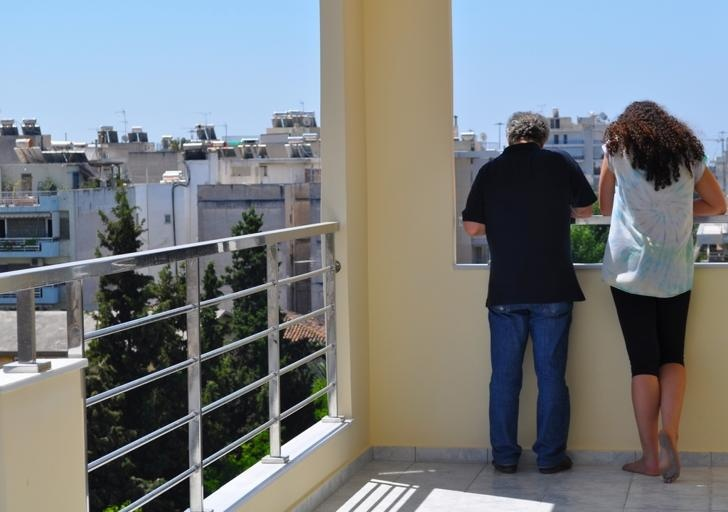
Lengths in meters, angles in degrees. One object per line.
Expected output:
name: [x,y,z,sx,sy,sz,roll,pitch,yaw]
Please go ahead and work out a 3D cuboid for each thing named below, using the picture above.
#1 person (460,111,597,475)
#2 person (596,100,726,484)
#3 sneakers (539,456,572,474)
person: [0.888,0.194,5.991,0.712,1.977,0.363,3,-5,5]
person: [1.581,0.183,5.863,0.646,2.043,0.339,2,-5,15]
sneakers: [1.061,1.156,6.027,0.169,0.072,0.084,-14,11,-20]
